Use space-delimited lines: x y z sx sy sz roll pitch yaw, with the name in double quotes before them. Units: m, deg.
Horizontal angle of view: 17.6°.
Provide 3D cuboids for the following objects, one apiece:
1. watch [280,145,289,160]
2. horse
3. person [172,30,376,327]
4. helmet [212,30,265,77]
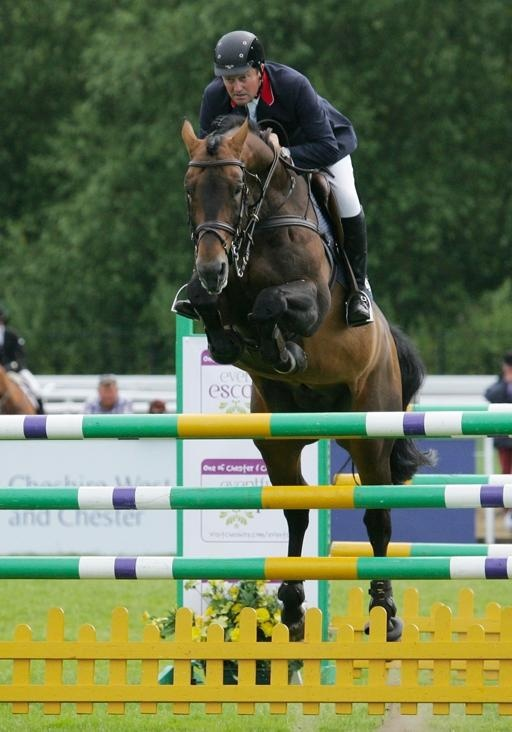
"watch" 0.131 -0.980 7.627 0.011 0.054 0.049 -8 -1 24
"horse" 0.252 0.150 8.011 0.527 1.703 2.537 0 -25 26
"person" 0.165 -0.884 7.976 0.526 1.458 1.123 2 13 33
"helmet" -0.098 -1.439 7.601 0.219 0.196 0.330 2 15 30
